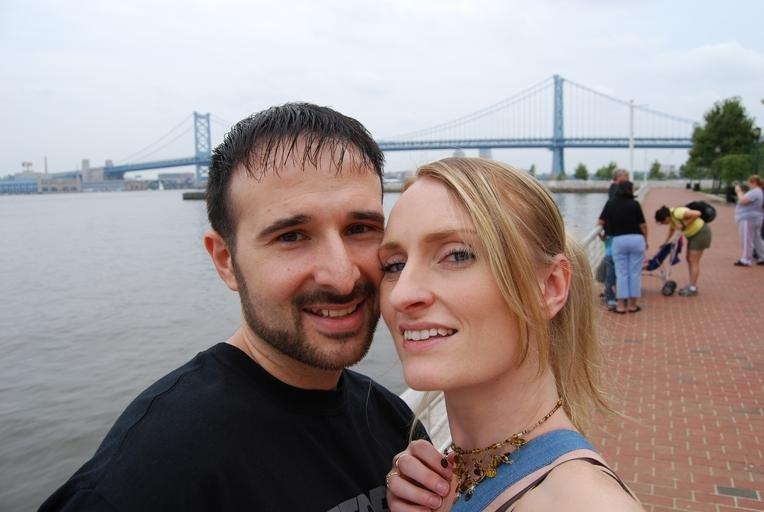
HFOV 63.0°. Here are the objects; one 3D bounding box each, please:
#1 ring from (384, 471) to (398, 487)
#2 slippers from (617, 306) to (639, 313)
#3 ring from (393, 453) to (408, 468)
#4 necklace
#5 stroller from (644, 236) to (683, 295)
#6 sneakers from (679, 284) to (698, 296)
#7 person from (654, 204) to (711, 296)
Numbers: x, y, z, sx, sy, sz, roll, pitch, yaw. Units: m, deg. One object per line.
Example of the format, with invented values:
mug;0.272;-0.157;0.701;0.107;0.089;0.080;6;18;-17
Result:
ring;0.047;1.109;3.141;0.067;0.092;0.039;5;-13;1
slippers;3.607;0.781;9.148;0.368;0.153;0.129;-1;-1;-3
ring;0.089;1.039;3.139;0.028;0.075;0.063;24;31;12
necklace;0.555;0.966;3.045;0.498;0.232;0.412;-31;-2;-14
stroller;4.886;0.199;10.821;0.794;0.962;0.428;-11;27;-4
sneakers;4.959;0.549;10.139;0.294;0.142;0.161;3;5;29
person;4.869;-0.074;10.025;0.901;1.484;0.591;-13;10;-31
